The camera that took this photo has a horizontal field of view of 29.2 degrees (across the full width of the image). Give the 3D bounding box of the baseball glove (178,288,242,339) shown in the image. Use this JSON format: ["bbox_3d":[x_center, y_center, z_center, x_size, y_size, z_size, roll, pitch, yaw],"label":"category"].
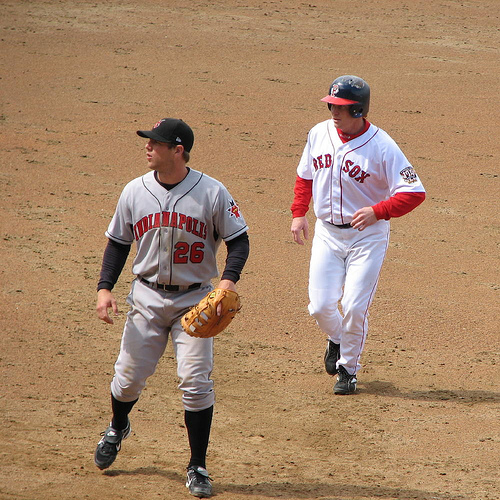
[{"bbox_3d":[-0.232,0.447,6.596,0.187,0.413,0.307,55,11,28],"label":"baseball glove"}]

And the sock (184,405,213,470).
[{"bbox_3d":[-0.379,1.297,6.672,0.198,0.427,0.164,9,14,-4],"label":"sock"}]

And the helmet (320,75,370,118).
[{"bbox_3d":[0.782,-1.304,7.998,0.476,0.297,0.354,-8,27,-32],"label":"helmet"}]
